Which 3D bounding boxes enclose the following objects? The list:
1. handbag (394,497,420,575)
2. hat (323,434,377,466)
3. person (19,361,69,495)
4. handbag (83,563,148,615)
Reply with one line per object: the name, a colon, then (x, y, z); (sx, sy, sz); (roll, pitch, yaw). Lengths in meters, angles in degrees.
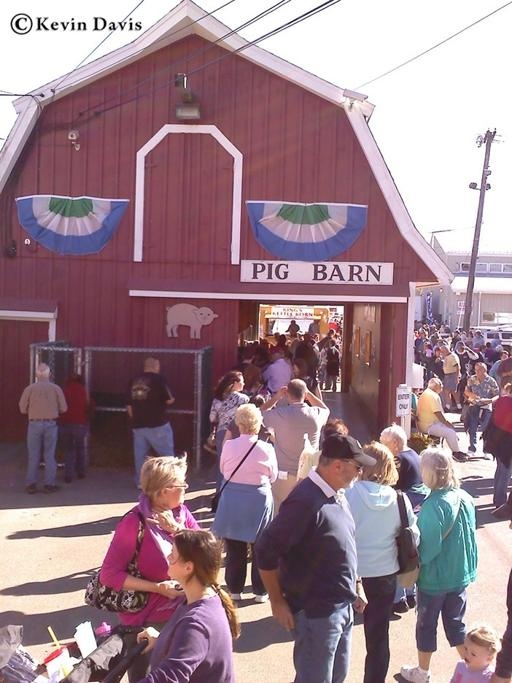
handbag: (0.937, 1.210, 4.483); (0.153, 0.504, 0.129); (3, 4, 23)
hat: (0.488, 0.540, 3.745); (0.238, 0.128, 0.155); (5, 11, -6)
person: (-2.836, 1.118, 9.635); (0.573, 1.685, 0.933); (0, 3, -15)
handbag: (-0.733, 1.267, 3.690); (0.340, 0.260, 0.129); (3, 4, 26)
